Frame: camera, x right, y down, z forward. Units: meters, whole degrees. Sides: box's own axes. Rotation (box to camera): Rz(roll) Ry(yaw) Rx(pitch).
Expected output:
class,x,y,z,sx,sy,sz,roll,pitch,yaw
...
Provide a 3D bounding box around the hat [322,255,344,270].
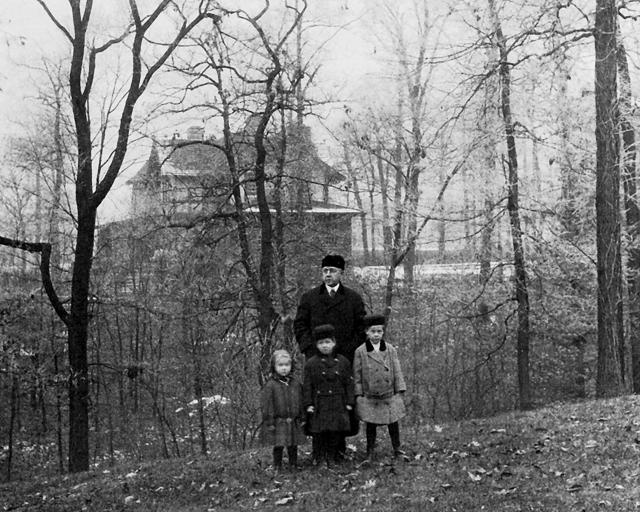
class,x,y,z,sx,sy,sz,roll,pitch,yaw
hat,0.338,0.131,23.712,0.324,0.232,0.348,1,0,15

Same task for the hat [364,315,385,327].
class,x,y,z,sx,sy,sz,roll,pitch,yaw
hat,1.180,1.378,23.395,0.414,0.267,0.325,-10,11,-8

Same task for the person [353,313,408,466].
class,x,y,z,sx,sy,sz,roll,pitch,yaw
person,1.287,2.811,23.580,1.079,3.150,0.880,-6,11,3

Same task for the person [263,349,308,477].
class,x,y,z,sx,sy,sz,roll,pitch,yaw
person,-0.772,3.318,23.718,0.928,2.556,0.853,-8,11,-3
